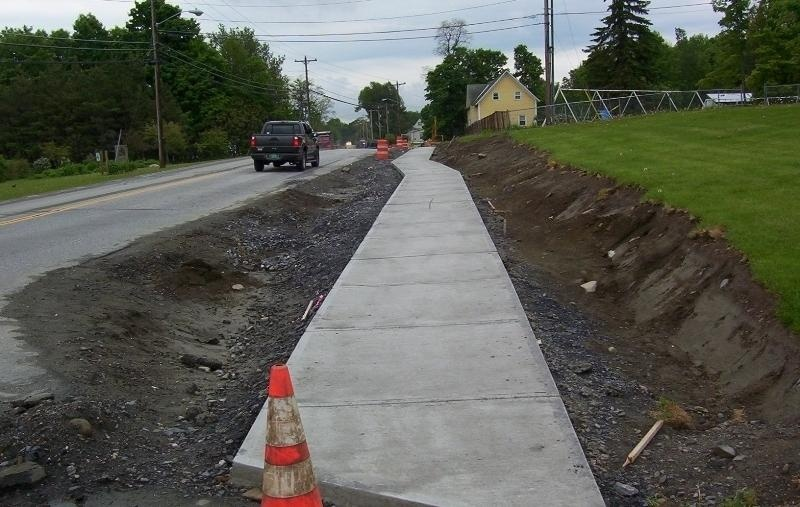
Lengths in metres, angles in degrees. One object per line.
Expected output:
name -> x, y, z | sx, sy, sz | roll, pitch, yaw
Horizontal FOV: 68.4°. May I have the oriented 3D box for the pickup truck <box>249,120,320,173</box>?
pickup truck -> -5.226, -5.226, 27.819 | 2.363, 1.342, 3.793 | 3, 14, 8
